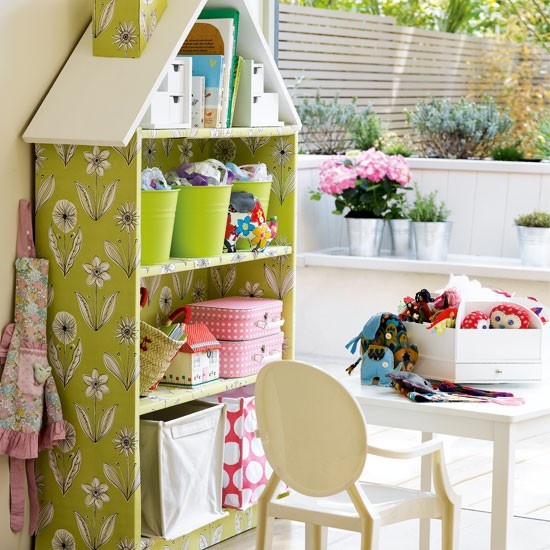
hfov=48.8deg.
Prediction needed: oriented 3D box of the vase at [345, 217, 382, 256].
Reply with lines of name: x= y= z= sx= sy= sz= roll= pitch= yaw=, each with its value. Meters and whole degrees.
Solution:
vase: x=0.598 y=-0.250 z=4.058 sx=0.221 sy=0.203 sz=0.226 roll=1 pitch=2 yaw=6

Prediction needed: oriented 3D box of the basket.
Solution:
basket: x=-0.371 y=0.234 z=2.051 sx=0.152 sy=0.286 sz=0.224 roll=11 pitch=-15 yaw=34

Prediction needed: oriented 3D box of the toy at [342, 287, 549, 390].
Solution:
toy: x=0.482 y=0.175 z=1.632 sx=0.392 sy=0.187 sz=0.285 roll=-3 pitch=-1 yaw=35

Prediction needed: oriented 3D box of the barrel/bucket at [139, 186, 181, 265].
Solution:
barrel/bucket: x=-0.355 y=-0.148 z=1.819 sx=0.169 sy=0.224 sz=0.174 roll=1 pitch=1 yaw=0

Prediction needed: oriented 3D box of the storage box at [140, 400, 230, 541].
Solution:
storage box: x=-0.289 y=0.606 z=2.112 sx=0.300 sy=0.485 sz=0.380 roll=-1 pitch=0 yaw=26

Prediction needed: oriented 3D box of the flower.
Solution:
flower: x=0.589 y=-0.621 z=4.175 sx=0.665 sy=0.463 sz=0.355 roll=2 pitch=7 yaw=13

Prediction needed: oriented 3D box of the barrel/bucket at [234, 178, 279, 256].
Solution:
barrel/bucket: x=-0.059 y=-0.219 z=2.323 sx=0.199 sy=0.323 sz=0.208 roll=0 pitch=-2 yaw=0

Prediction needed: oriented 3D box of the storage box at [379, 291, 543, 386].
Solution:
storage box: x=0.533 y=0.117 z=1.642 sx=0.278 sy=0.200 sz=0.278 roll=-1 pitch=1 yaw=-32
